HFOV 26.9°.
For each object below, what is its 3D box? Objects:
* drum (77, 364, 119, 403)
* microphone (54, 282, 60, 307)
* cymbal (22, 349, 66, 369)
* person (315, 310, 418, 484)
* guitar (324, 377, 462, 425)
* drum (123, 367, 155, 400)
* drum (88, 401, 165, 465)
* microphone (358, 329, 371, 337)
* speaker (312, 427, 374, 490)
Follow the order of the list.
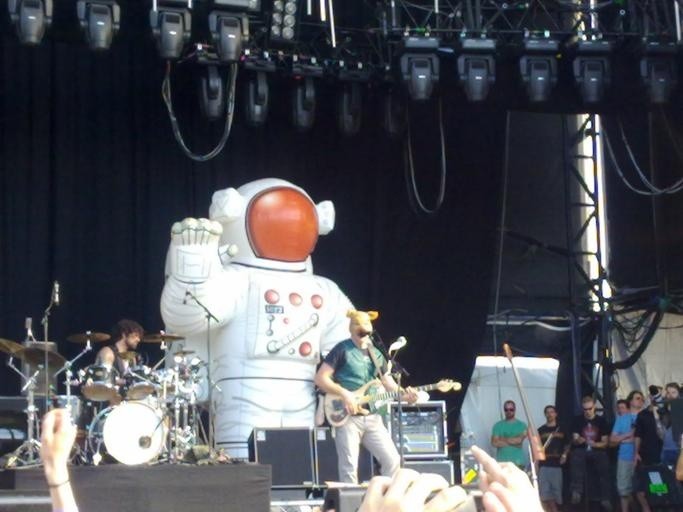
[{"bbox_3d":[-2.096,1.138,12.330,0.301,0.211,0.313,-2,-41,-2],"label":"drum"},{"bbox_3d":[-2.525,0.352,12.697,0.055,0.240,0.058,2,11,-4],"label":"microphone"},{"bbox_3d":[-2.595,0.898,12.419,0.221,0.066,0.233,14,-20,-15],"label":"cymbal"},{"bbox_3d":[0.176,1.264,12.718,0.696,1.724,0.631,1,2,-4],"label":"person"},{"bbox_3d":[0.419,1.327,12.755,0.977,0.435,1.008,-1,-2,38],"label":"guitar"},{"bbox_3d":[-1.758,1.106,12.414,0.264,0.296,0.308,-2,-41,-16],"label":"drum"},{"bbox_3d":[-1.719,1.455,11.669,0.590,0.503,0.187,1,-1,-7],"label":"drum"},{"bbox_3d":[0.208,0.701,12.762,0.059,0.030,0.090,0,-6,7],"label":"microphone"},{"bbox_3d":[-0.020,1.826,13.053,0.529,0.583,0.483,1,0,-17],"label":"speaker"}]
